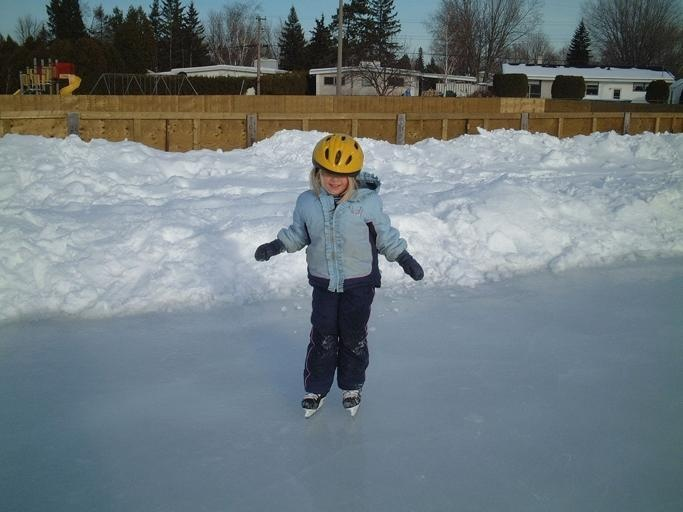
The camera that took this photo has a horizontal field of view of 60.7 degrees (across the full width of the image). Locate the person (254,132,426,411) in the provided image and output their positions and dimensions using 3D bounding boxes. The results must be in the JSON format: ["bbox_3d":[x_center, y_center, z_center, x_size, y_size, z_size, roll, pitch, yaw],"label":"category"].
[{"bbox_3d":[-0.006,0.141,4.116,0.979,1.930,0.458,-3,14,-10],"label":"person"}]

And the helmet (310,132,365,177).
[{"bbox_3d":[-0.061,-0.666,4.057,0.309,0.201,0.433,29,13,12],"label":"helmet"}]

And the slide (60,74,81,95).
[{"bbox_3d":[-8.829,-5.561,19.022,0.554,0.687,11.906,-7,18,-23],"label":"slide"}]

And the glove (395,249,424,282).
[{"bbox_3d":[0.494,0.072,4.140,0.132,0.256,0.089,-29,-18,0],"label":"glove"}]

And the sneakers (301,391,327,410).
[{"bbox_3d":[-0.210,1.030,4.133,0.076,0.082,0.193,2,-7,16],"label":"sneakers"}]

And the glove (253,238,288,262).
[{"bbox_3d":[-0.503,-0.037,4.125,0.209,0.088,0.124,-36,41,-24],"label":"glove"}]
